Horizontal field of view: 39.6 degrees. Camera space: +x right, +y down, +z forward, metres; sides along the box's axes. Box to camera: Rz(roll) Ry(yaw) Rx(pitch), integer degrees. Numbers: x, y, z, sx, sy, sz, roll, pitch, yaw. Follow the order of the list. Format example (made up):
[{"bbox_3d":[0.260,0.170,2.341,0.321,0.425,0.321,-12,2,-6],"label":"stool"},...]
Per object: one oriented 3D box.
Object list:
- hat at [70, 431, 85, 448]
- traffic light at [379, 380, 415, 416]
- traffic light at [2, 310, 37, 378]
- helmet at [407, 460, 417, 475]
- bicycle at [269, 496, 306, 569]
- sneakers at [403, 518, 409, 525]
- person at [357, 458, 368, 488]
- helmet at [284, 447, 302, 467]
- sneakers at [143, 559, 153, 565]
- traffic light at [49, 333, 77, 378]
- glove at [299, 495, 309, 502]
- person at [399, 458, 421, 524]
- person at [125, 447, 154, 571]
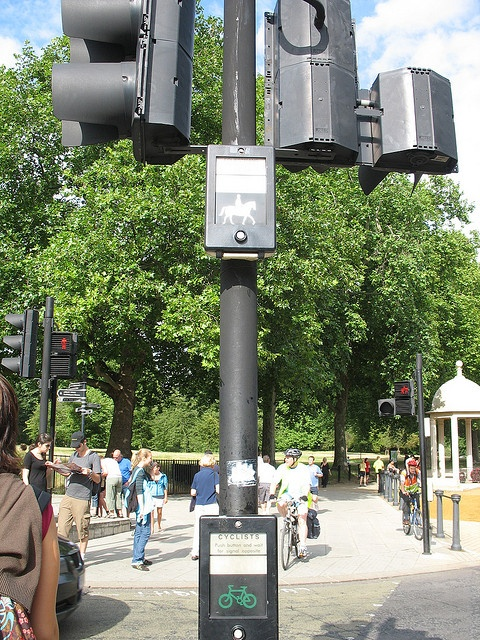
[{"bbox_3d":[-2.359,1.776,9.661,0.203,0.181,0.304,3,15,0],"label":"hat"},{"bbox_3d":[3.014,1.488,12.754,0.492,0.657,0.708,2,-5,-23],"label":"traffic light"},{"bbox_3d":[-2.724,0.279,8.275,0.401,0.853,0.543,2,-5,-20],"label":"traffic light"},{"bbox_3d":[3.486,2.989,13.526,0.224,0.295,0.294,0,-25,5],"label":"helmet"},{"bbox_3d":[0.807,3.338,10.407,0.298,1.054,1.136,-1,-5,18],"label":"bicycle"},{"bbox_3d":[3.509,4.287,14.166,0.136,0.198,0.066,0,-6,13],"label":"sneakers"},{"bbox_3d":[6.003,7.383,32.571,0.422,1.434,1.998,0,-5,9],"label":"person"},{"bbox_3d":[0.817,2.145,10.541,0.322,0.320,0.260,5,12,6],"label":"helmet"},{"bbox_3d":[-1.381,3.641,9.984,0.147,0.108,0.049,0,-7,-4],"label":"sneakers"},{"bbox_3d":[-2.373,0.463,8.970,0.332,0.620,0.213,1,-5,-9],"label":"traffic light"},{"bbox_3d":[1.013,2.813,10.467,0.095,0.116,0.177,-3,-6,39],"label":"glove"},{"bbox_3d":[3.505,3.582,13.772,0.371,1.533,1.009,-1,-5,14],"label":"person"},{"bbox_3d":[-1.485,2.820,9.884,0.353,1.771,1.080,1,-5,-9],"label":"person"}]
